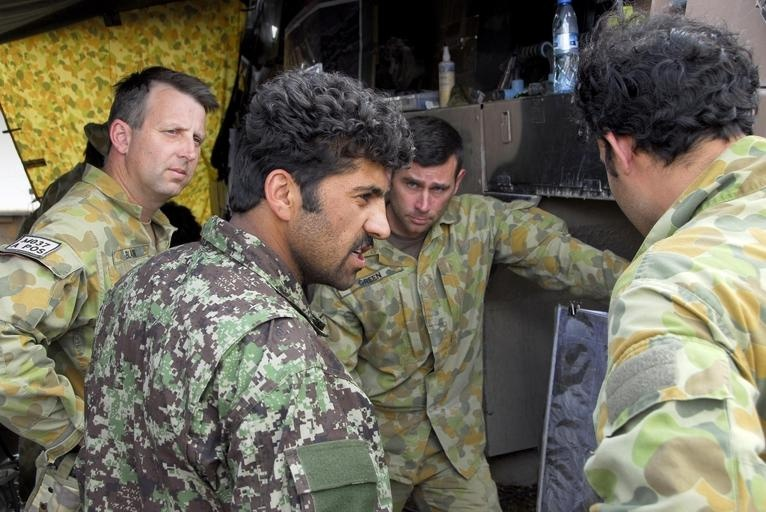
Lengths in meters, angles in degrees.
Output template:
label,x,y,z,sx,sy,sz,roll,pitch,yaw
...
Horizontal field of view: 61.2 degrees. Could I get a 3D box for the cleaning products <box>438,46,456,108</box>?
label,x,y,z,sx,sy,sz,roll,pitch,yaw
cleaning products,0.406,-1.110,4.102,0.122,0.416,0.126,7,15,43
